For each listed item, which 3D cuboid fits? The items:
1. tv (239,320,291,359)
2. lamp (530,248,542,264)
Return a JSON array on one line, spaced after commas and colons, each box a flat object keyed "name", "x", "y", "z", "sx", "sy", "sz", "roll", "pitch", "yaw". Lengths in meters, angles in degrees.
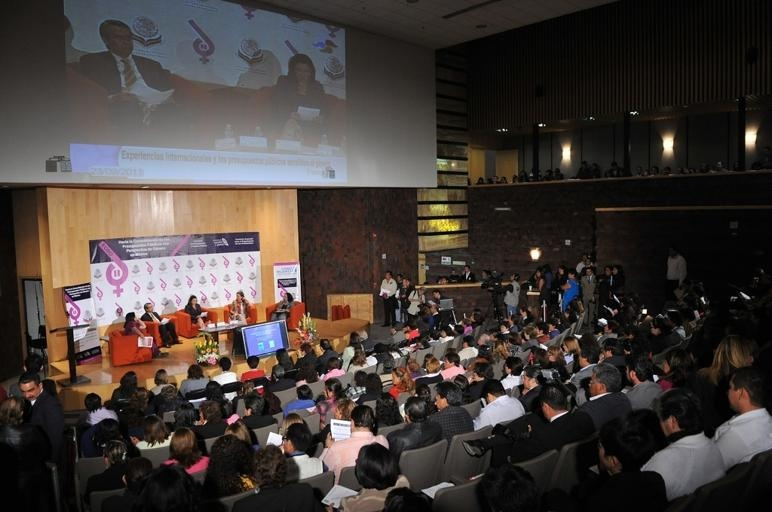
[{"name": "tv", "x": -2.570, "y": 1.818, "z": 10.667, "sx": 0.923, "sy": 0.646, "sz": 0.507, "roll": -8, "pitch": -16, "yaw": -25}, {"name": "lamp", "x": 5.020, "y": -0.019, "z": 16.820, "sx": 0.445, "sy": 0.495, "sz": 0.443, "roll": -2, "pitch": 6, "yaw": -28}]
